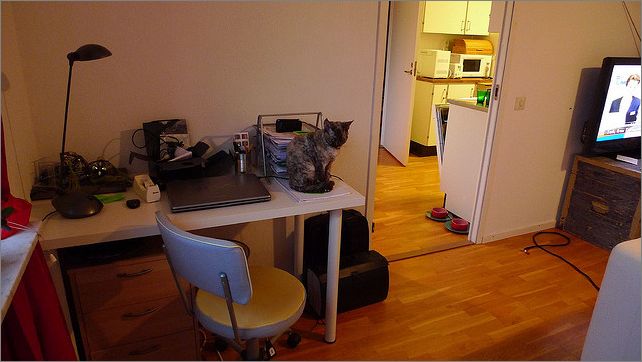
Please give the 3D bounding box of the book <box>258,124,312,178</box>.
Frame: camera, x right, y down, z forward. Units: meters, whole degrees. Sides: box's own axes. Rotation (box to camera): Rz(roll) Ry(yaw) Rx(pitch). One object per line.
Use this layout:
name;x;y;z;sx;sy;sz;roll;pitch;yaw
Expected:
book;-0.318;-0.245;3.246;0.360;0.148;0.382;-1;33;-10

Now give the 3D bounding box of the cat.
cat;-0.074;-0.233;3.119;0.648;0.656;0.375;-3;26;-7

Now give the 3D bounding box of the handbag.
handbag;0.108;0.500;3.418;0.531;0.432;0.279;-9;22;-21

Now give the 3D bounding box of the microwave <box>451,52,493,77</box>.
microwave;2.253;-1.776;6.487;0.668;0.374;0.397;-8;30;-19

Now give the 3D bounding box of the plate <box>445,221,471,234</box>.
plate;1.440;0.493;4.512;0.271;0.088;0.183;15;26;42

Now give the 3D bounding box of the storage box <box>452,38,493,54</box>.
storage box;2.305;-2.042;6.425;0.613;0.253;0.409;3;20;16
